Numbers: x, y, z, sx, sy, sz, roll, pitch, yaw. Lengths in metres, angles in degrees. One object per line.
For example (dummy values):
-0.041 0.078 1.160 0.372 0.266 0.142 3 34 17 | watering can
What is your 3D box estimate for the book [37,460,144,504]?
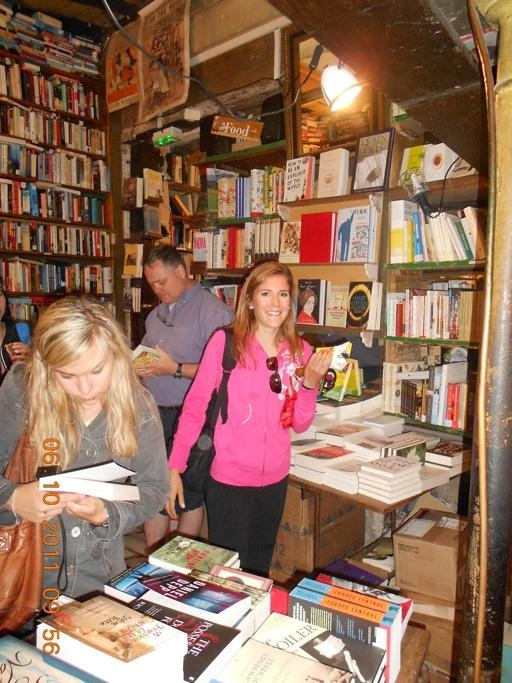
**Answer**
-0.356 0.321 1.153 0.131 0.062 0.118 -8 -22 21 | book
